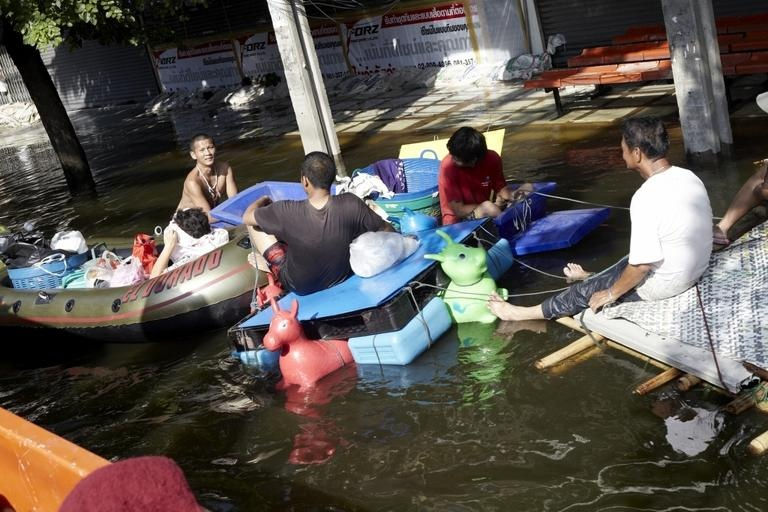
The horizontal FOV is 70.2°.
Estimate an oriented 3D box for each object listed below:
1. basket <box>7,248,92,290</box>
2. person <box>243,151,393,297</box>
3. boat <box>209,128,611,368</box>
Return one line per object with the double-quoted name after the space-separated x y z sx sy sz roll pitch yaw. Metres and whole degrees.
-4.377 0.175 7.043 0.814 0.186 0.672 -9 -3 -8 "basket"
-0.629 -0.292 5.256 1.188 1.443 0.309 -14 23 4 "person"
0.681 -0.029 5.463 3.040 0.542 2.940 -27 26 -30 "boat"
